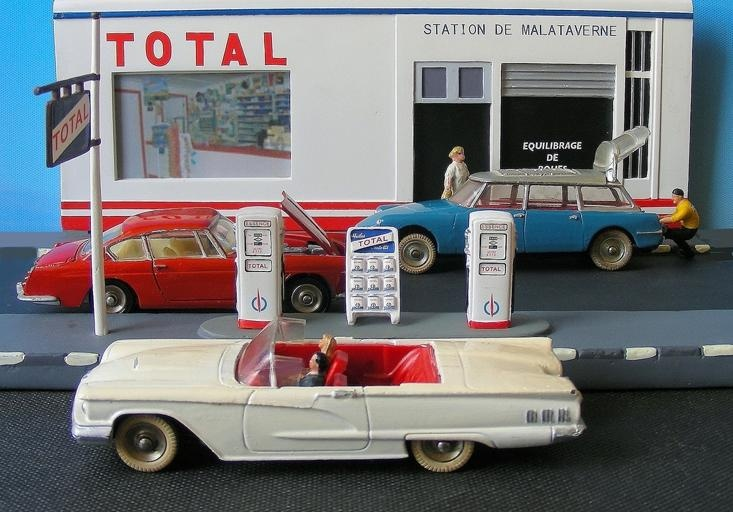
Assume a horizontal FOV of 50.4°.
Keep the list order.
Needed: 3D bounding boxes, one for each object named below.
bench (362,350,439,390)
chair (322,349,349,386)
[{"bbox_3d":[0.467,1.370,9.292,0.598,0.240,0.490,-7,7,6],"label":"bench"},{"bbox_3d":[-0.333,1.324,9.055,0.242,0.516,0.440,10,1,2],"label":"chair"}]
